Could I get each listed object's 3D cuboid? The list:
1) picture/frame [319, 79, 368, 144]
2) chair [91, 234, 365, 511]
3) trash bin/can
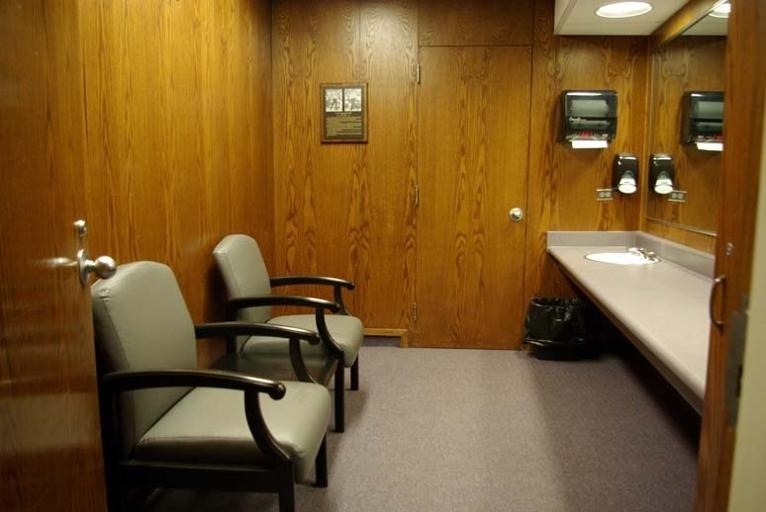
[{"bbox_3d":[-0.307,-1.155,4.781,0.436,0.571,0.041,0,5,1],"label":"picture/frame"},{"bbox_3d":[-0.693,0.445,3.067,0.981,1.333,0.988,1,5,1],"label":"chair"},{"bbox_3d":[1.319,0.548,4.586,0.410,0.413,0.488,-1,1,8],"label":"trash bin/can"}]
